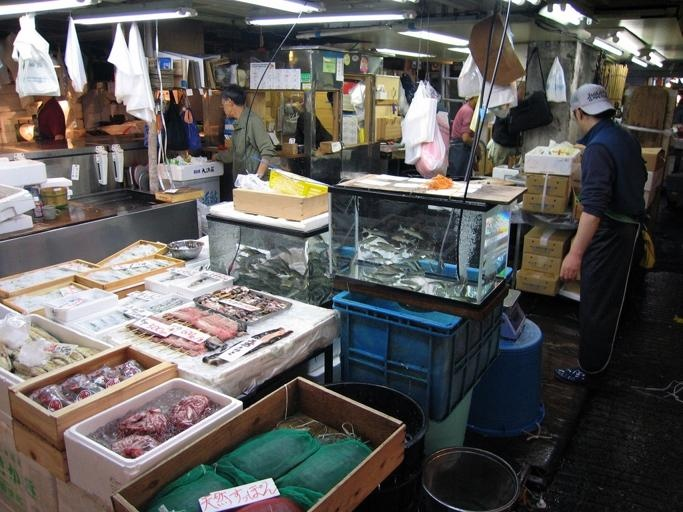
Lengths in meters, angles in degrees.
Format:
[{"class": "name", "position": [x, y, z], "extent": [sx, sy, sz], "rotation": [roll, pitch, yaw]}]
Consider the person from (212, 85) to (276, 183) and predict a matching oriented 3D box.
[{"class": "person", "position": [-1.096, -1.462, 5.865], "extent": [0.405, 1.092, 0.789], "rotation": [-15, 23, -38]}]

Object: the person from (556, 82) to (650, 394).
[{"class": "person", "position": [1.997, -0.107, 3.831], "extent": [0.567, 2.356, 0.735], "rotation": [10, 20, 29]}]

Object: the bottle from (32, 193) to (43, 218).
[{"class": "bottle", "position": [-2.747, -0.438, 4.414], "extent": [0.072, 0.180, 0.243], "rotation": [-10, 20, -30]}]

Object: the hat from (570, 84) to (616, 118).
[{"class": "hat", "position": [1.883, -1.197, 3.702], "extent": [0.273, 0.231, 0.406], "rotation": [-11, 20, 4]}]

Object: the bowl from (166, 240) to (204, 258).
[{"class": "bowl", "position": [-1.216, -0.044, 3.865], "extent": [0.282, 0.111, 0.256], "rotation": [-8, 19, -25]}]

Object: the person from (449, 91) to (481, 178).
[{"class": "person", "position": [1.669, -1.638, 6.880], "extent": [0.303, 1.062, 0.917], "rotation": [4, 18, 11]}]

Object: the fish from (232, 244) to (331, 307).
[{"class": "fish", "position": [-0.334, 0.130, 3.488], "extent": [0.724, 0.381, 0.487], "rotation": [6, 1, 26]}]

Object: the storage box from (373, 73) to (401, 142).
[{"class": "storage box", "position": [0.826, -2.628, 8.845], "extent": [0.341, 1.152, 1.294], "rotation": [6, 18, 17]}]

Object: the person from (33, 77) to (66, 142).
[{"class": "person", "position": [-4.504, -2.109, 7.512], "extent": [0.453, 0.656, 2.207], "rotation": [-10, 20, -29]}]

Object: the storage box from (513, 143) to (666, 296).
[{"class": "storage box", "position": [2.219, -0.313, 4.536], "extent": [1.030, 1.252, 1.780], "rotation": [3, 7, 14]}]

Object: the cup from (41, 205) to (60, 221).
[{"class": "cup", "position": [-2.580, -0.379, 4.326], "extent": [0.163, 0.113, 0.107], "rotation": [1, 9, -39]}]
